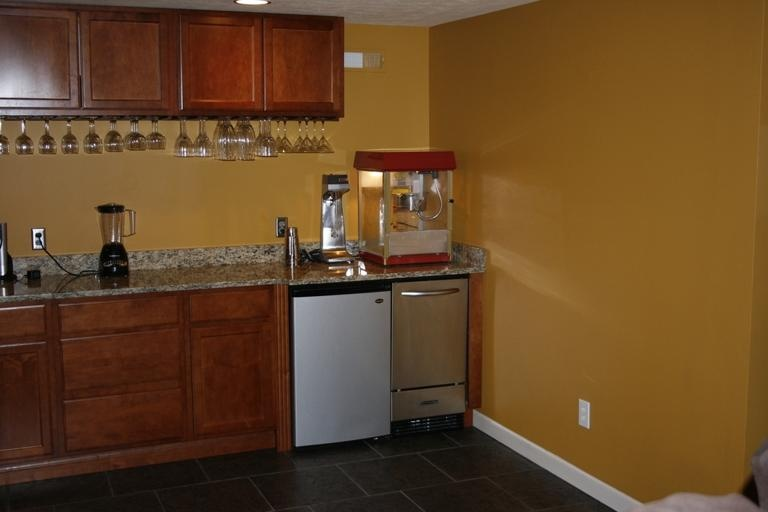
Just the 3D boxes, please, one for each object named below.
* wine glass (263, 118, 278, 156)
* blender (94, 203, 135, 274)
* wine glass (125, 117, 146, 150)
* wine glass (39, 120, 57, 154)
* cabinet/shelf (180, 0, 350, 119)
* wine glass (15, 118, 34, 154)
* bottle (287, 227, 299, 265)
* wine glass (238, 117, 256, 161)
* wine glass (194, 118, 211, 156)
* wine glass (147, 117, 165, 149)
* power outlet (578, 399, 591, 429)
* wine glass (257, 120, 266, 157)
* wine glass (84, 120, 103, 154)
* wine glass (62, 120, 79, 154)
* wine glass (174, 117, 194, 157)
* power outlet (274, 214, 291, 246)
[{"bbox_3d":[-0.810,-0.843,4.549,0.100,0.257,0.229,-3,9,-9],"label":"wine glass"},{"bbox_3d":[-1.933,-0.121,4.583,0.274,0.501,0.324,-3,9,-13],"label":"blender"},{"bbox_3d":[-1.712,-0.842,4.396,0.136,0.218,0.243,-5,10,-22],"label":"wine glass"},{"bbox_3d":[-2.299,-0.810,4.360,0.092,0.230,0.356,-6,10,-26],"label":"wine glass"},{"bbox_3d":[-0.883,-1.346,4.711,1.139,0.736,0.390,-1,-6,-10],"label":"cabinet/shelf"},{"bbox_3d":[-2.433,-0.809,4.327,0.101,0.238,0.362,-6,11,-27],"label":"wine glass"},{"bbox_3d":[-0.701,-0.070,4.893,0.100,0.280,0.186,-3,9,-8],"label":"bottle"},{"bbox_3d":[-0.984,-0.836,4.563,0.122,0.297,0.257,-3,9,-12],"label":"wine glass"},{"bbox_3d":[-1.281,-0.835,4.511,0.118,0.264,0.335,-4,10,-15],"label":"wine glass"},{"bbox_3d":[-1.617,-0.863,4.516,0.114,0.210,0.435,-5,10,-19],"label":"wine glass"},{"bbox_3d":[1.260,1.002,4.032,0.017,0.185,0.105,-5,10,-25],"label":"power outlet"},{"bbox_3d":[-0.876,-0.845,4.539,0.069,0.250,0.202,-3,9,-10],"label":"wine glass"},{"bbox_3d":[-2.015,-0.831,4.432,0.108,0.239,0.380,-5,10,-23],"label":"wine glass"},{"bbox_3d":[-2.170,-0.822,4.406,0.090,0.230,0.339,-6,10,-26],"label":"wine glass"},{"bbox_3d":[-1.422,-0.837,4.526,0.117,0.263,0.401,-4,10,-17],"label":"wine glass"},{"bbox_3d":[-0.808,-0.221,5.065,0.117,0.188,0.071,-3,9,-12],"label":"power outlet"}]
